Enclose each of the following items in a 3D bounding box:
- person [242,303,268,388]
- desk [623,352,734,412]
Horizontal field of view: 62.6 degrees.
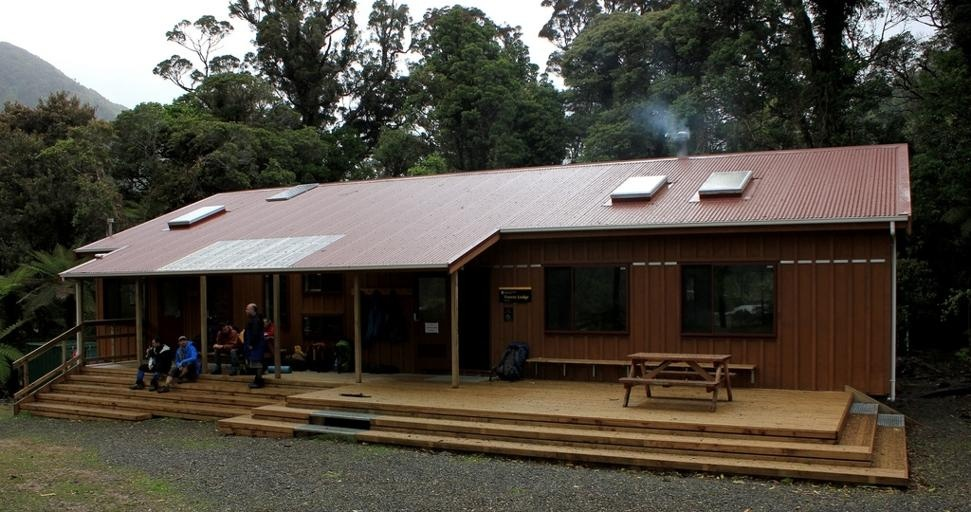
[{"bbox_3d":[-8.408,3.283,29.110,0.780,2.989,1.091,3,-5,-15],"label":"person"},{"bbox_3d":[6.491,4.126,26.615,3.532,1.749,3.208,0,-6,14],"label":"desk"}]
